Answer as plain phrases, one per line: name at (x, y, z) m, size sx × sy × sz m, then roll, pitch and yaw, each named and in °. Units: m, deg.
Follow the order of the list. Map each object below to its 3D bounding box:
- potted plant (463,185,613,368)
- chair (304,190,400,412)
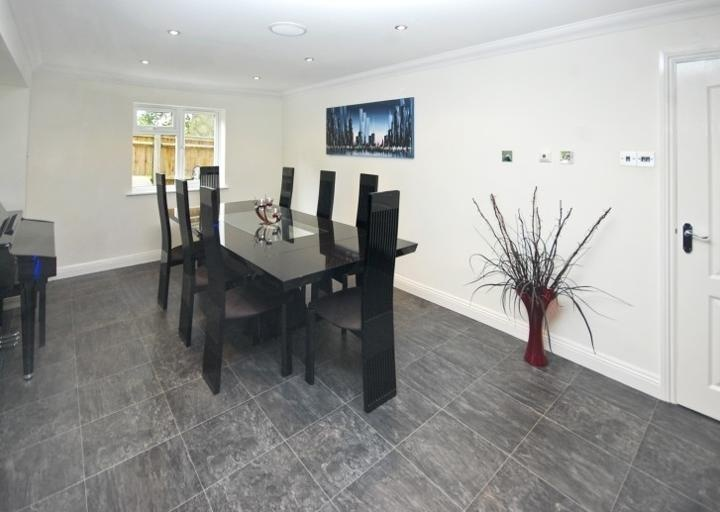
potted plant at (1.545, 0.320, 4.050) m, size 1.008 × 1.408 × 1.232 m, roll 5°, pitch 1°, yaw 31°
chair at (-0.003, 0.267, 3.647) m, size 0.716 × 1.689 × 0.631 m, roll 11°, pitch 17°, yaw 31°
